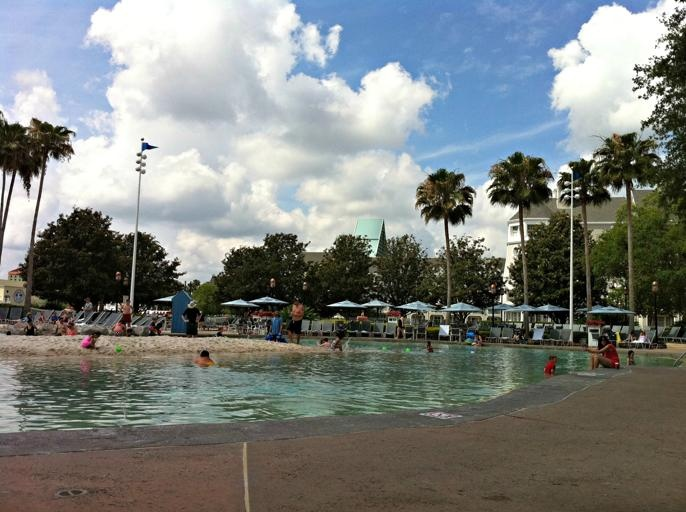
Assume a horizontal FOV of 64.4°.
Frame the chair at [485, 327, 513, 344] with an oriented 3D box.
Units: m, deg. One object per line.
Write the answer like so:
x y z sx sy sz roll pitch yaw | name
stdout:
11.280 6.136 39.108 1.868 1.407 1.019 -4 -8 30 | chair

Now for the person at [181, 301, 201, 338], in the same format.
-7.367 3.136 26.744 0.790 1.963 0.588 3 15 -15 | person

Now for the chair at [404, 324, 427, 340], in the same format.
5.372 5.620 40.329 1.815 1.017 0.807 7 -10 -33 | chair

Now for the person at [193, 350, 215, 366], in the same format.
-4.502 3.313 17.813 0.566 0.526 0.955 5 3 -10 | person

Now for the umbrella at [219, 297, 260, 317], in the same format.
-9.951 4.975 53.505 2.538 1.290 2.519 2 -7 -2 | umbrella

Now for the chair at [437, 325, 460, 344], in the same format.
7.770 5.685 39.770 0.975 1.988 1.396 2 -11 -8 | chair
